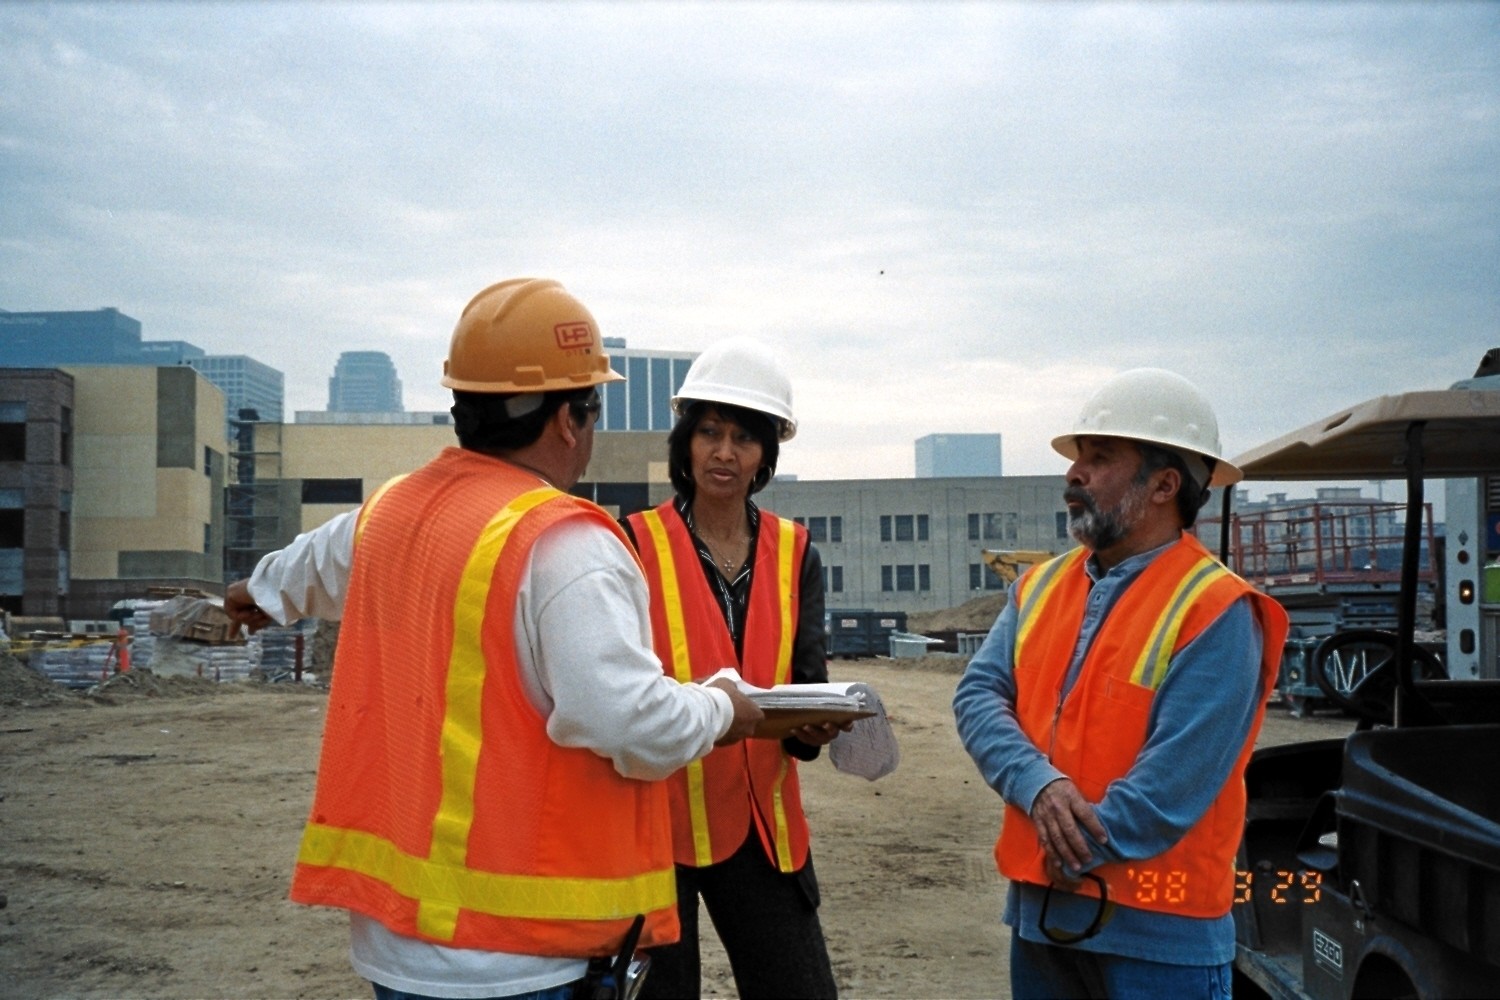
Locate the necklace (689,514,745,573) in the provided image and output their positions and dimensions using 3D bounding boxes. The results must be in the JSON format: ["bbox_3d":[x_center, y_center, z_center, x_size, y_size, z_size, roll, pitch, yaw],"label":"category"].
[{"bbox_3d":[-0.156,0.204,7.085,0.207,0.173,0.266,5,1,-26],"label":"necklace"}]
